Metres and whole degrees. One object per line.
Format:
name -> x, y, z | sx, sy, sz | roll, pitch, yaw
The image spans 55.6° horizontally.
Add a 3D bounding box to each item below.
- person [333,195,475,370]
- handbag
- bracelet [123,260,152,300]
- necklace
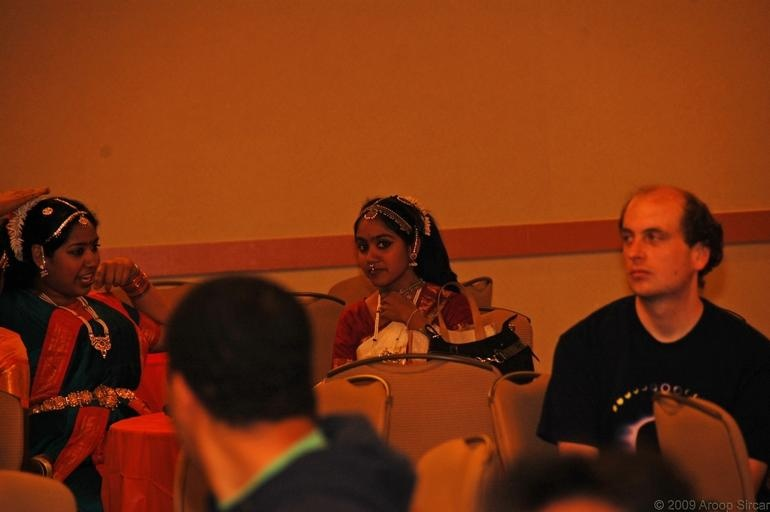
person -> 0.108, 0.289, 4.583 | 0.831, 1.291, 0.711 | -4, -8, 23
handbag -> 0.516, 0.422, 3.868 | 0.517, 0.562, 0.369 | -12, -9, 10
bracelet -> -1.474, 0.128, 4.408 | 0.148, 0.098, 0.205 | -35, 22, 21
necklace -> -1.713, 0.334, 4.136 | 0.579, 0.032, 0.193 | 46, 39, 19
